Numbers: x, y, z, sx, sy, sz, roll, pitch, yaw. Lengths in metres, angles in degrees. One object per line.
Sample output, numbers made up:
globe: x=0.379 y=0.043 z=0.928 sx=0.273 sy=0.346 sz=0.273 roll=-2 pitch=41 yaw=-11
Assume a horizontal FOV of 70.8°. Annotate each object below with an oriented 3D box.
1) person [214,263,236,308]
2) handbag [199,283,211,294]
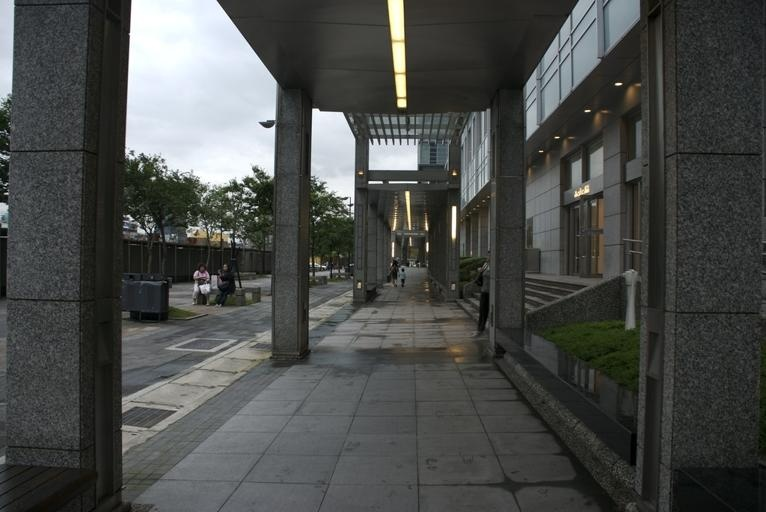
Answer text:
person: x=-6.185 y=1.154 z=21.205 sx=0.533 sy=1.543 sz=1.025 roll=-1 pitch=5 yaw=2
handbag: x=-7.028 y=1.340 z=21.437 sx=0.403 sy=0.440 sz=0.397 roll=-3 pitch=6 yaw=-20
